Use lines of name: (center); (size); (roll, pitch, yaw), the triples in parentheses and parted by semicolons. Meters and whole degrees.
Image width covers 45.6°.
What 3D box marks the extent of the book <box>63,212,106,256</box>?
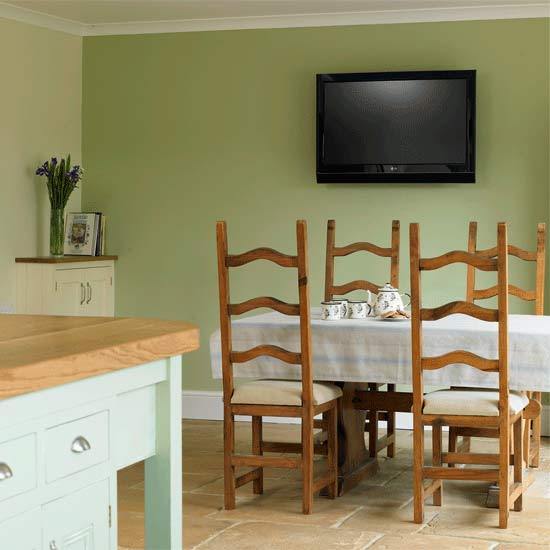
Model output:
book: (-1.382, -0.288, 4.721); (0.290, 0.362, 0.113); (0, -9, 10)

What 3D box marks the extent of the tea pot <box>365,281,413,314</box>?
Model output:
tea pot: (0.552, 0.123, 3.184); (0.207, 0.185, 0.165); (1, -1, 17)

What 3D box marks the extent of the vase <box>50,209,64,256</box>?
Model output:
vase: (-1.473, -0.280, 4.439); (0.079, 0.326, 0.093); (0, 0, -23)

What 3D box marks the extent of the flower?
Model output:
flower: (-1.512, -0.500, 4.585); (0.303, 0.730, 0.440); (0, 0, -22)

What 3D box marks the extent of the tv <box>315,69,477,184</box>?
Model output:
tv: (0.832, -0.977, 4.283); (0.696, 0.549, 0.077); (0, 4, 12)

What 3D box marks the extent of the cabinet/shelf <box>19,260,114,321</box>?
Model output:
cabinet/shelf: (-1.369, 0.092, 4.226); (0.146, 0.367, 0.378); (1, 2, 22)
